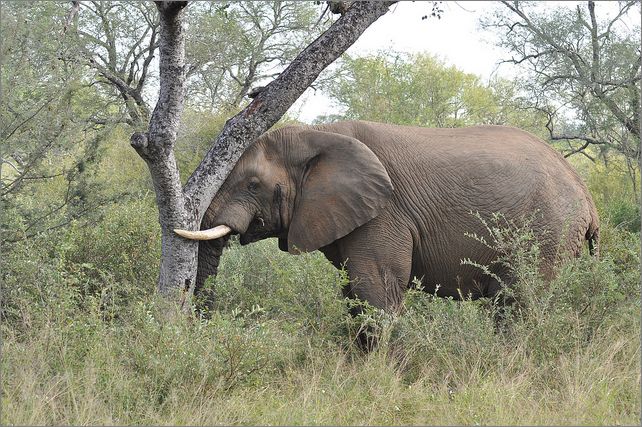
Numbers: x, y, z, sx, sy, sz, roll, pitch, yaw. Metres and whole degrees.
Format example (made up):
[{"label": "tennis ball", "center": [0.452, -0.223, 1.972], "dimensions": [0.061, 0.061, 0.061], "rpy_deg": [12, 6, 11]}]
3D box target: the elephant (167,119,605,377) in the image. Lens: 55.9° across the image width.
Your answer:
[{"label": "elephant", "center": [0.930, 0.499, 9.447], "dimensions": [6.292, 3.769, 2.567], "rpy_deg": [1, 5, 1]}]
